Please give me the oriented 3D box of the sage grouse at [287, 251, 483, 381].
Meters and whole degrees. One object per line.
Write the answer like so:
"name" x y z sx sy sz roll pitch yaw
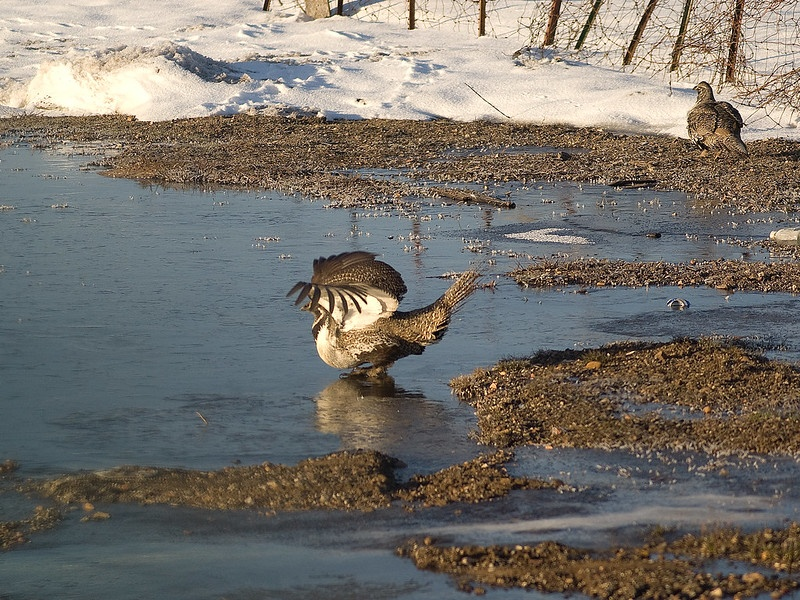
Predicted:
"sage grouse" -0.305 0.258 24.925 2.272 2.072 0.617 1 19 -2
